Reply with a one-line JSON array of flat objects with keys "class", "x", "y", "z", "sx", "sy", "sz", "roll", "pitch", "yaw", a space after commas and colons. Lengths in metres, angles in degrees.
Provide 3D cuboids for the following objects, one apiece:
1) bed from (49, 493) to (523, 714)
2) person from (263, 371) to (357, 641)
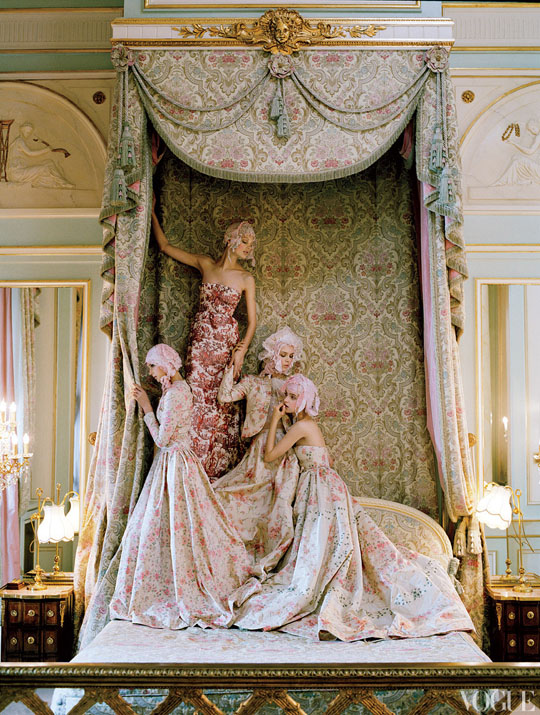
[{"class": "bed", "x": 0.028, "y": 1.125, "z": 5.725, "sx": 1.890, "sy": 0.858, "sz": 2.037, "roll": -2, "pitch": -6, "yaw": 3}, {"class": "person", "x": 0.191, "y": 0.798, "z": 6.190, "sx": 0.504, "sy": 1.219, "sz": 0.607, "roll": 4, "pitch": -44, "yaw": 3}]
